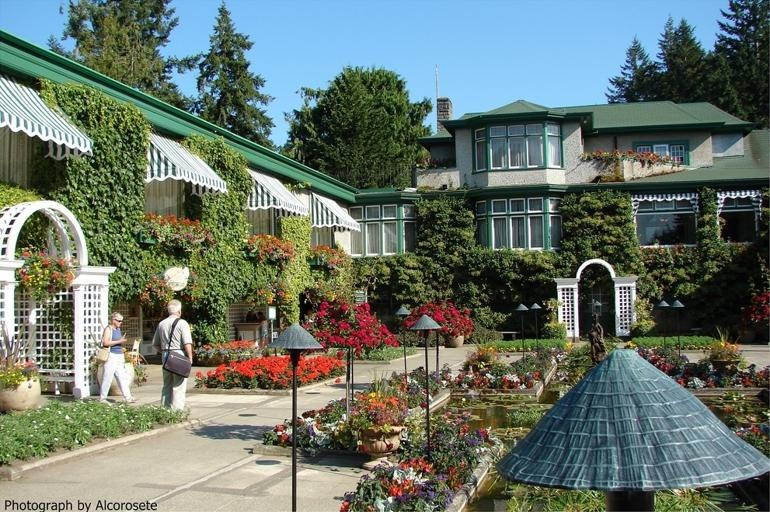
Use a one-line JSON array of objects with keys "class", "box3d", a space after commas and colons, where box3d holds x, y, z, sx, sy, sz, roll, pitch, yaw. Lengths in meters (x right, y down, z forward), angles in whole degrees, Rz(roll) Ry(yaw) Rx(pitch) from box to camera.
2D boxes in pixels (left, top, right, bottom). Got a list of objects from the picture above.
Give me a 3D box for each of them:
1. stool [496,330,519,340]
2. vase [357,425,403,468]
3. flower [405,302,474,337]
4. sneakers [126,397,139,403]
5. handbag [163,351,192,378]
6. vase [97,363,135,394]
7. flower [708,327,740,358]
[{"class": "stool", "box3d": [5.733, 3.613, 44.096, 0.965, 0.409, 1.757, -1, -6, 7]}, {"class": "vase", "box3d": [-0.099, 4.421, 22.345, 0.949, 0.732, 0.963, -4, -7, 33]}, {"class": "flower", "box3d": [1.767, 2.035, 30.311, 1.852, 1.064, 1.911, 3, -8, 11]}, {"class": "sneakers", "box3d": [-7.012, 3.975, 26.636, 0.326, 0.113, 0.130, 4, -23, -41]}, {"class": "handbag", "box3d": [-5.270, 2.720, 24.368, 0.585, 0.498, 0.225, 20, 0, -16]}, {"class": "vase", "box3d": [-7.828, 3.627, 28.167, 0.969, 0.859, 0.925, -1, -3, 29]}, {"class": "flower", "box3d": [11.846, 3.003, 33.463, 1.061, 1.517, 1.199, 0, -1, 28]}]
